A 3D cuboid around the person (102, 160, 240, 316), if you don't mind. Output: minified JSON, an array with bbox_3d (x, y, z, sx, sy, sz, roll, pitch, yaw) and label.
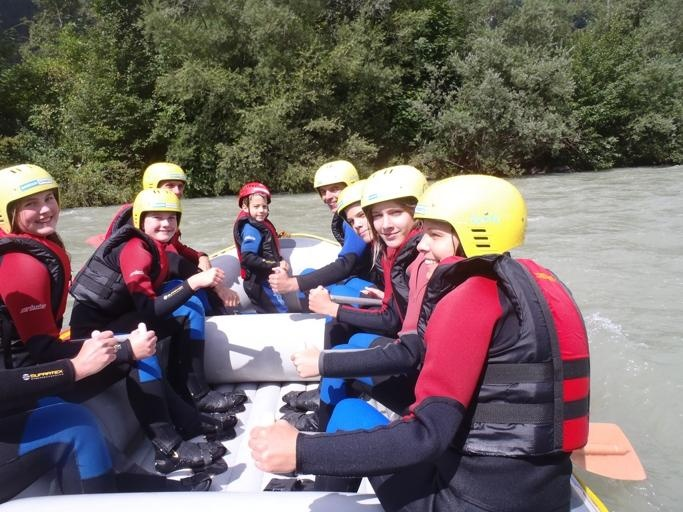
[{"bbox_3d":[-1.677,0.024,4.754,1.333,1.177,0.676,18,9,42],"label":"person"}]

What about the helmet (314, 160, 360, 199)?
[{"bbox_3d":[-0.041,-0.775,5.433,0.274,0.277,0.354,6,44,37],"label":"helmet"}]

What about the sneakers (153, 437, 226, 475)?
[{"bbox_3d":[-0.934,1.225,3.512,0.432,0.303,0.204,-10,53,-6],"label":"sneakers"}]

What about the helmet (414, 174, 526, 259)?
[{"bbox_3d":[0.606,-0.208,2.583,0.506,0.357,0.396,-10,13,-20],"label":"helmet"}]

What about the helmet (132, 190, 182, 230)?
[{"bbox_3d":[-1.384,-0.395,4.173,0.263,0.265,0.340,-6,26,-26],"label":"helmet"}]

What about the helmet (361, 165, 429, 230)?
[{"bbox_3d":[0.378,-0.401,3.597,0.346,0.359,0.465,-4,12,34],"label":"helmet"}]

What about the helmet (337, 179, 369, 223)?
[{"bbox_3d":[0.075,-0.437,4.463,0.255,0.238,0.202,-29,-4,-29],"label":"helmet"}]

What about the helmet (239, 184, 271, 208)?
[{"bbox_3d":[-0.889,-0.609,5.572,0.235,0.180,0.316,2,2,-22],"label":"helmet"}]
